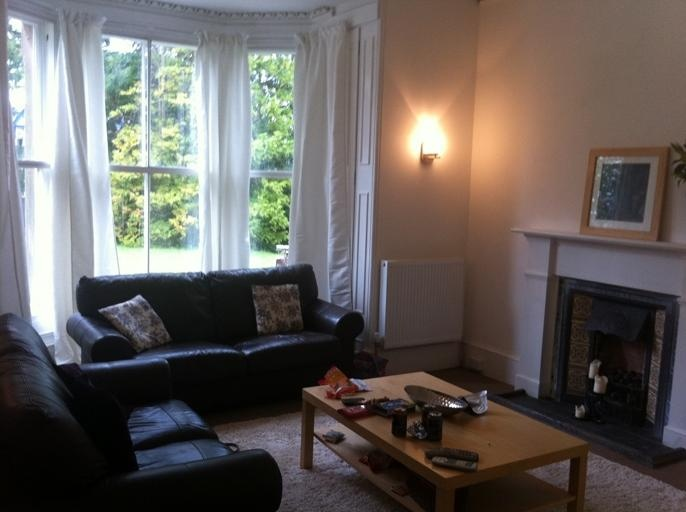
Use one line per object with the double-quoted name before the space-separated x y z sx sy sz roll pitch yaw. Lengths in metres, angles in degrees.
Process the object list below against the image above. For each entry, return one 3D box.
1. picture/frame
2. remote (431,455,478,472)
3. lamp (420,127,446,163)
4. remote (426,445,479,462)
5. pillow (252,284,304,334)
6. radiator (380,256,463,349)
"picture/frame" 2.205 -0.476 4.258 0.063 0.840 0.676 4 6 -36
"remote" 0.570 1.032 2.789 0.155 0.036 0.087 2 2 10
"lamp" 0.843 -1.059 5.212 0.231 0.331 0.106 1 2 -24
"remote" 0.568 1.013 2.850 0.185 0.045 0.103 4 2 10
"pillow" -0.587 0.453 4.853 0.427 0.416 0.104 0 -12 -29
"radiator" 0.772 0.443 5.306 0.897 0.820 0.105 -2 6 -25
